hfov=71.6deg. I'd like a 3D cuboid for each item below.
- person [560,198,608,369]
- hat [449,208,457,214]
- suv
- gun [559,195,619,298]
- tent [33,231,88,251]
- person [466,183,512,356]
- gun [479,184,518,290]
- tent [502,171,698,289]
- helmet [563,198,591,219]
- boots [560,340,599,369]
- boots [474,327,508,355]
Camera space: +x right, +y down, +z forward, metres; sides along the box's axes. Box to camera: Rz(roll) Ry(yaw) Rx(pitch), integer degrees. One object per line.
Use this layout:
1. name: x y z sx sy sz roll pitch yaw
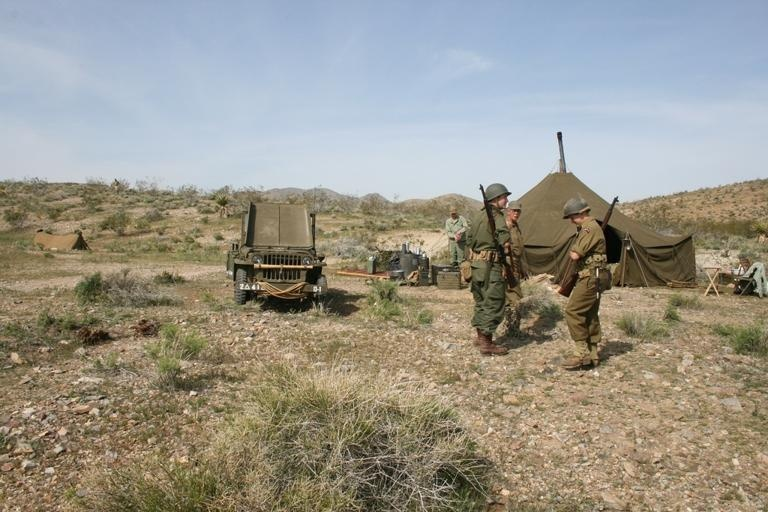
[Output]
1. person: 3.361 0.435 8.832 0.733 2.823 0.513 2 3 23
2. hat: 2.100 -1.404 16.151 0.176 0.187 0.203 4 -12 -9
3. suv: -2.558 -0.109 12.845 2.015 2.462 2.256 0 2 -21
4. gun: 4.298 -0.162 11.205 0.164 2.924 0.607 28 -6 -41
5. tent: -15.095 -0.643 24.800 1.863 0.779 1.468 0 12 2
6. person: 1.904 0.234 9.680 0.730 3.054 0.459 1 2 9
7. gun: 2.017 -0.246 9.518 0.422 2.004 0.159 -19 -1 -5
8. tent: 6.784 -0.526 18.014 5.377 3.360 5.269 0 1 1
9. helmet: 3.252 -0.832 8.992 0.495 0.277 0.434 -14 6 -24
10. boots: 3.230 1.619 9.025 0.693 0.644 0.336 3 4 6
11. boots: 1.962 1.563 9.848 0.715 0.556 0.295 -7 4 -7
